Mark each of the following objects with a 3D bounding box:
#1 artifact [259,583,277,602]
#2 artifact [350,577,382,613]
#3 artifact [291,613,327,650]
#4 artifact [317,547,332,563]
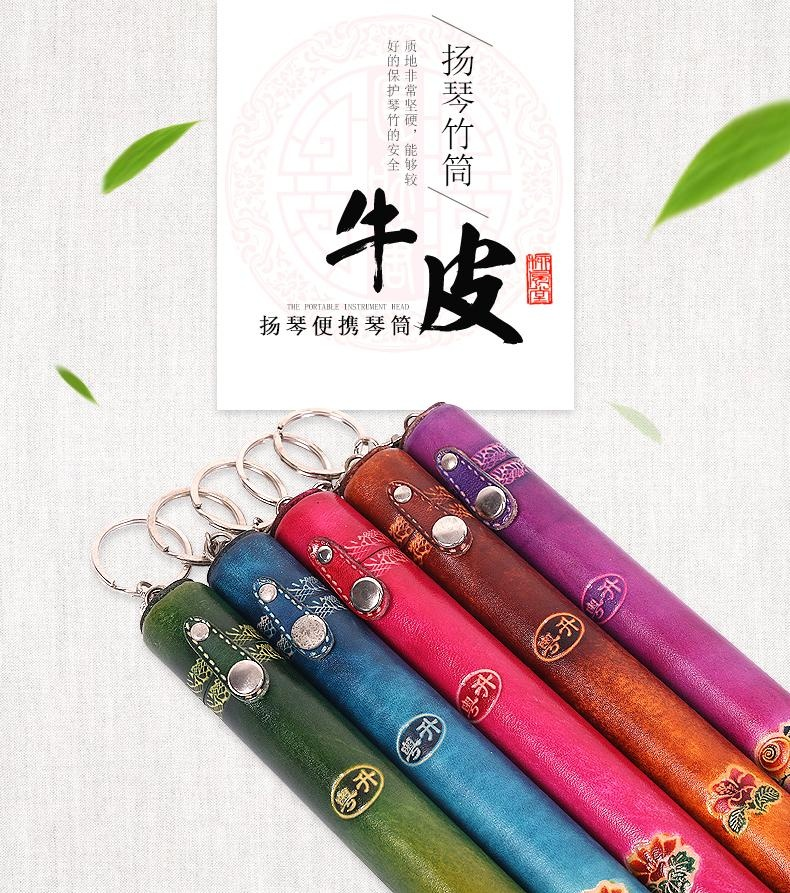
[{"bbox_3d":[-0.162,0.186,1.155,0.023,0.021,0.005,-9,-10,20],"label":"artifact"},{"bbox_3d":[-0.034,0.189,1.145,0.042,0.040,0.011,-35,-10,9],"label":"artifact"},{"bbox_3d":[-0.105,0.230,1.123,0.042,0.038,0.010,-7,-15,14],"label":"artifact"},{"bbox_3d":[-0.090,0.141,1.178,0.021,0.019,0.005,-16,-16,19],"label":"artifact"}]
